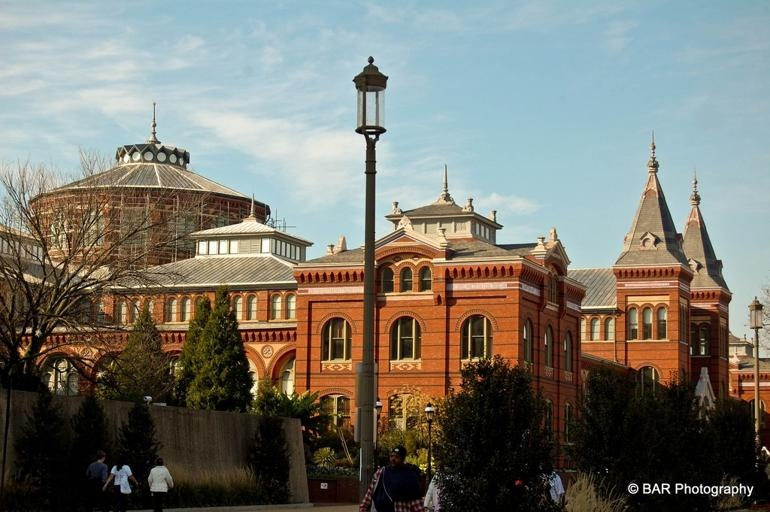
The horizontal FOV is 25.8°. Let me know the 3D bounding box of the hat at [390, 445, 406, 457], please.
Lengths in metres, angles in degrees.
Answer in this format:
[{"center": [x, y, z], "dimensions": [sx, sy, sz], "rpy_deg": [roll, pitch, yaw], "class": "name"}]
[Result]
[{"center": [0.433, 6.387, 54.792], "dimensions": [0.476, 0.525, 0.561], "rpy_deg": [6, -8, 5], "class": "hat"}]
